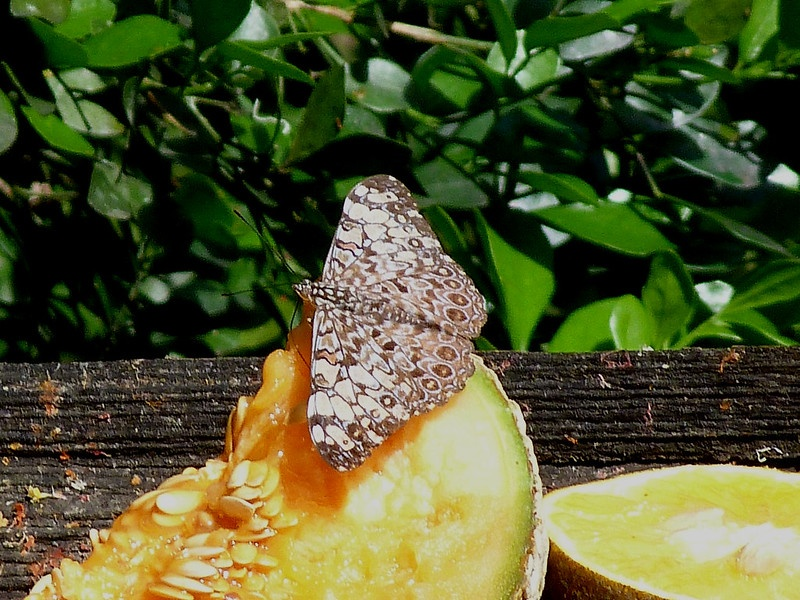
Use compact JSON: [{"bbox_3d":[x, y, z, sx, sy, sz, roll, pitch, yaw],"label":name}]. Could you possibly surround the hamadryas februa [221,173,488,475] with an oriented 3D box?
[{"bbox_3d":[-0.011,-0.001,2.013,0.228,0.374,0.089,13,32,12],"label":"hamadryas februa"}]
